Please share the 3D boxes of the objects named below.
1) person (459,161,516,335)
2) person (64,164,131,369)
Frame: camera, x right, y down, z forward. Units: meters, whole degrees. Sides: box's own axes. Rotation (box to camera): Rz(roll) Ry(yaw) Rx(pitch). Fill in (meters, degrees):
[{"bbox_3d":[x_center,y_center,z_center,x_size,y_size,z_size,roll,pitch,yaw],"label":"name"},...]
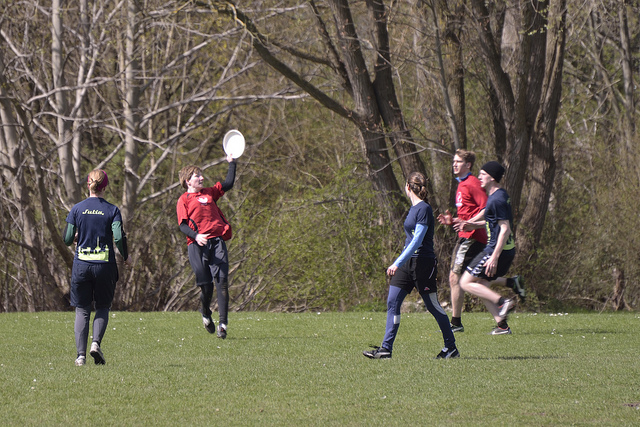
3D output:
[{"bbox_3d":[3.736,0.856,26.734,1.196,3.910,0.854,-4,10,-26],"label":"person"},{"bbox_3d":[-4.542,1.093,24.802,1.155,3.860,0.856,-2,10,-13],"label":"person"}]
